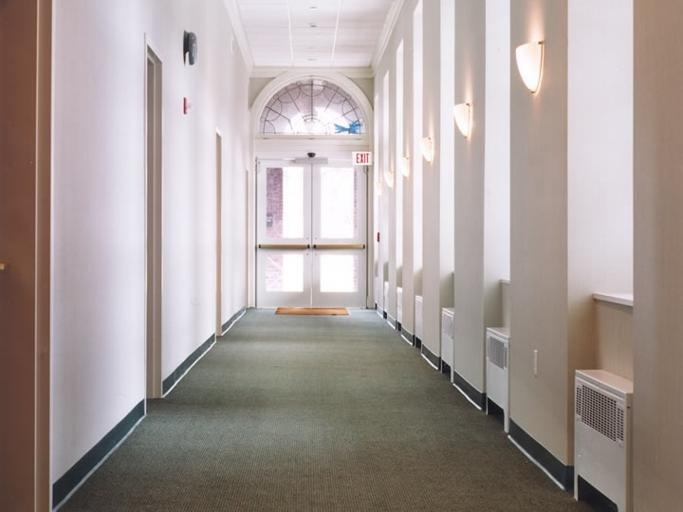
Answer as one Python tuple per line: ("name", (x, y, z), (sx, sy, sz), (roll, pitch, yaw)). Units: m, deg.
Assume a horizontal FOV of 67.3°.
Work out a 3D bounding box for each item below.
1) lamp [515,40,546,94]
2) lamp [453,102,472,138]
("lamp", (1.203, -1.225, 3.335), (0.146, 0.329, 0.193), (1, 6, 2))
("lamp", (1.071, -1.210, 4.563), (0.135, 0.318, 0.322), (1, 6, 5))
